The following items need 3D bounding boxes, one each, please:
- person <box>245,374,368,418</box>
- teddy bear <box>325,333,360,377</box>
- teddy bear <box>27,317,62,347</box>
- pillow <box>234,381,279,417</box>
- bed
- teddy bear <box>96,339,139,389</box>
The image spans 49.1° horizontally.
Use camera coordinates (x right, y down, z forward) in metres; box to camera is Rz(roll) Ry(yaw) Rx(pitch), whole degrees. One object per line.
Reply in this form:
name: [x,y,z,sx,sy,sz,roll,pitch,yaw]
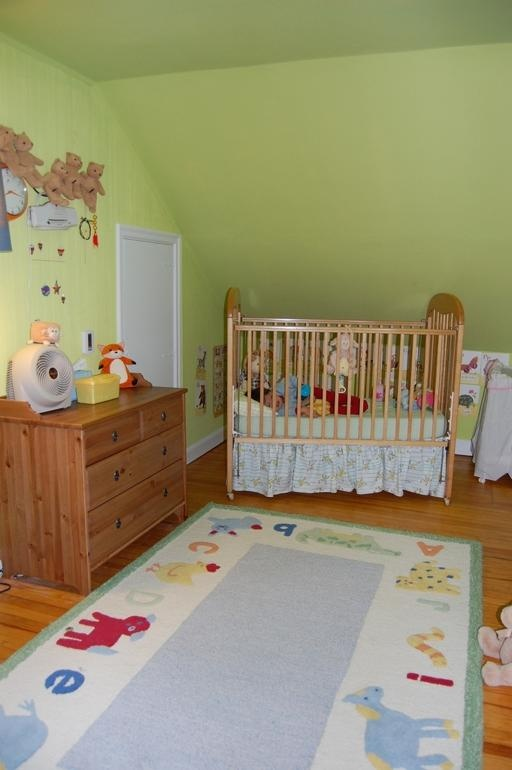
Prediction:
person: [0.349,0.096,3.708,0.742,0.253,0.318,1,5,4]
teddy bear: [0.610,-0.220,3.971,0.267,0.361,0.180,1,-10,11]
teddy bear: [-0.914,-0.229,2.421,0.118,0.102,0.113,0,6,-4]
pillow: [0.007,0.092,3.706,0.190,0.078,0.234,12,0,-38]
bed: [0.776,0.048,4.016,1.652,1.449,1.012,1,9,27]
teddy bear: [-0.773,-0.114,3.078,0.176,0.290,0.251,-3,10,36]
